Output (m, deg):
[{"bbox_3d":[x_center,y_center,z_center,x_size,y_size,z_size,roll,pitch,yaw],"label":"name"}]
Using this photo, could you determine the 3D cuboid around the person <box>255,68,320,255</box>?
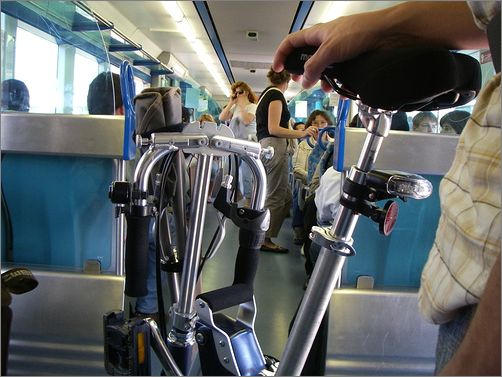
[{"bbox_3d":[0.306,-0.316,3.653,0.495,1.705,0.497,3,-2,-13],"label":"person"}]

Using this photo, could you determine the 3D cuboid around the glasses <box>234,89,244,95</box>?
[{"bbox_3d":[-0.140,-1.071,4.185,0.071,0.076,0.031,3,8,4],"label":"glasses"}]
